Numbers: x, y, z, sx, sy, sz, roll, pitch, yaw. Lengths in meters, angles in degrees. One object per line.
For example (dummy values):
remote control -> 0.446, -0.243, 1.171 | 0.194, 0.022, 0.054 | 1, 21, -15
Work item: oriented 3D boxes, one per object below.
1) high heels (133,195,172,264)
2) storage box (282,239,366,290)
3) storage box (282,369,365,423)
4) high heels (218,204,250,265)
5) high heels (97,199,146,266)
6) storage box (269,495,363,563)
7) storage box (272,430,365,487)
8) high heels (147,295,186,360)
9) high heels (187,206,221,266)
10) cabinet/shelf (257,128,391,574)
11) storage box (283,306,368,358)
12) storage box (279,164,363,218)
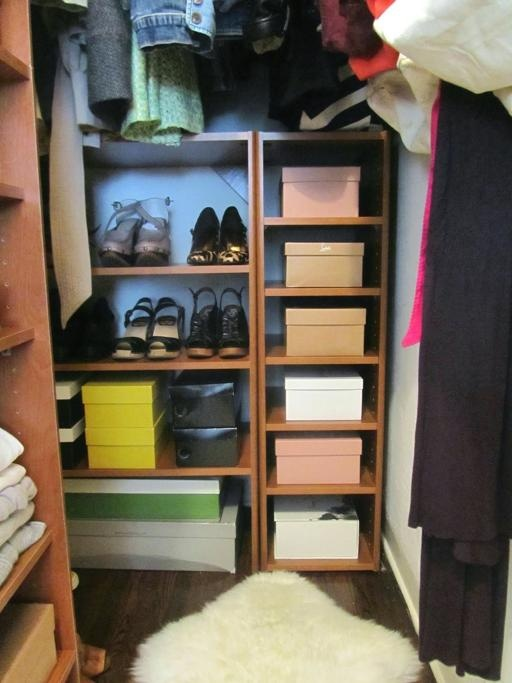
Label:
high heels -> -0.341, -0.369, 1.981 | 0.106, 0.151, 0.358 | 1, -4, -8
storage box -> 0.196, -0.210, 1.775 | 0.224, 0.131, 0.229 | 0, -1, 9
storage box -> 0.195, 0.163, 1.686 | 0.161, 0.096, 0.158 | -1, 9, 2
high heels -> -0.062, -0.308, 1.764 | 0.065, 0.061, 0.199 | -3, 30, -3
high heels -> -0.400, -0.318, 1.822 | 0.094, 0.097, 0.289 | -2, 41, -4
storage box -> 0.180, 0.557, 1.831 | 0.193, 0.089, 0.192 | 0, 5, 2
storage box -> 0.184, 0.347, 1.712 | 0.219, 0.111, 0.154 | 0, 4, 1
high heels -> -0.279, -0.036, 1.840 | 0.102, 0.130, 0.314 | -6, 10, 0
high heels -> -0.154, -0.313, 1.782 | 0.095, 0.158, 0.241 | -2, 13, -3
cabinet/shelf -> 0.198, 0.041, 1.862 | 0.393, 1.253, 0.400 | 1, 11, 12
storage box -> 0.192, -0.048, 1.689 | 0.163, 0.098, 0.160 | 0, 9, -2
storage box -> 0.178, -0.405, 1.649 | 0.163, 0.099, 0.164 | 0, 14, 1
